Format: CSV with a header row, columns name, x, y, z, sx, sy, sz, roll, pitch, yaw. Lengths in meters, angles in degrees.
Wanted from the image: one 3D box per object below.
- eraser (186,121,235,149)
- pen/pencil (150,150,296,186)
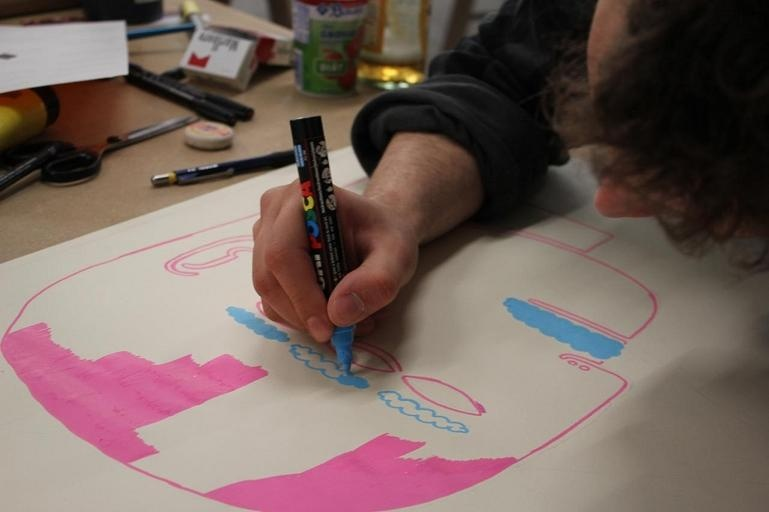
name,x,y,z,sx,sy,sz,roll,pitch,yaw
eraser,-0.284,-0.193,1.102,0.053,0.014,0.053,0,33,-9
pen/pencil,-0.247,-0.132,1.052,0.214,0.025,0.030,-13,58,-32
